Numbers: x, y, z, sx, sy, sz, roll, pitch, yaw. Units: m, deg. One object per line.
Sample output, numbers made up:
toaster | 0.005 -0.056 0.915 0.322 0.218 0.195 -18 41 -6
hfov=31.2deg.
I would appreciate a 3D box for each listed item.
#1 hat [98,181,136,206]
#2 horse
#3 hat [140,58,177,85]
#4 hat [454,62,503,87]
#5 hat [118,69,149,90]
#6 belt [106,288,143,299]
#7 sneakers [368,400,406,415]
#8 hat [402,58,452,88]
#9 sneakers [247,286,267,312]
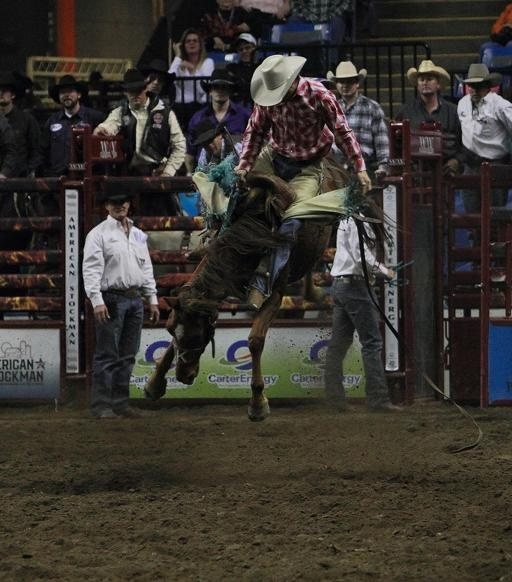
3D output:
hat | -1.251 -0.937 8.174 0.327 0.132 0.360 -2 -5 -8
horse | 0.045 -0.059 6.268 0.761 1.786 1.714 4 8 42
hat | -1.122 -2.610 10.479 0.307 0.124 0.352 11 -14 -4
hat | 2.540 -2.513 10.424 0.388 0.144 0.434 0 -5 17
hat | -1.227 -2.185 9.197 0.215 0.244 0.269 -2 6 -4
belt | -1.170 0.004 8.065 0.335 0.104 0.091 -4 7 -30
sneakers | 1.190 1.048 8.315 0.356 0.117 0.106 -3 11 6
hat | 1.996 -2.604 10.636 0.491 0.184 0.519 1 -22 16
sneakers | 0.005 0.042 5.931 0.120 0.161 0.245 -1 6 10
